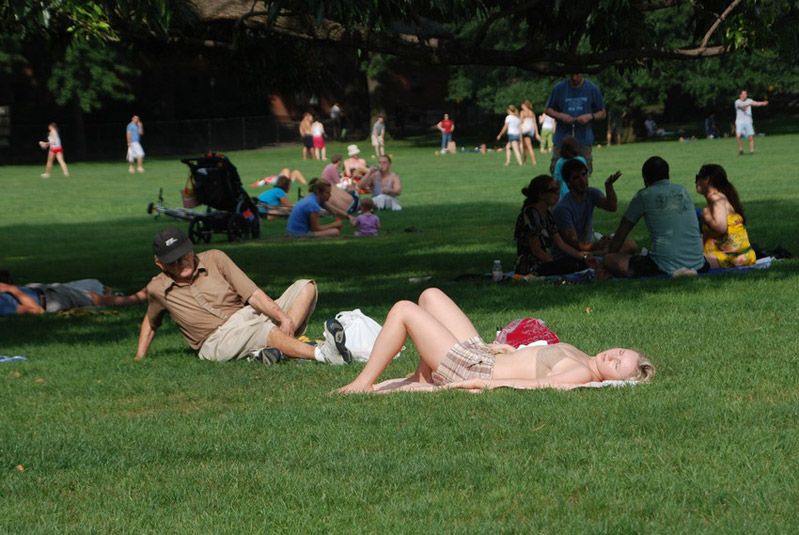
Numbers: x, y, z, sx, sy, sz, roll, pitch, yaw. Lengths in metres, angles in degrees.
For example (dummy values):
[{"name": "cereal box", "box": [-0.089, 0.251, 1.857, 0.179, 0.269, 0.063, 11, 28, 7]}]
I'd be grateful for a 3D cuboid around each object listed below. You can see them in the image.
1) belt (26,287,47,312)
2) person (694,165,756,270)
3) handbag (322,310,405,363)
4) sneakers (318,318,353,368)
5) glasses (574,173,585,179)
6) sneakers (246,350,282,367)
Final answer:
[{"name": "belt", "box": [-5.299, 0.445, 15.074, 0.271, 0.316, 0.235, -2, 10, 17]}, {"name": "person", "box": [4.605, -0.740, 15.373, 1.245, 1.536, 1.103, -1, 0, 39]}, {"name": "handbag", "box": [-0.531, 0.748, 12.273, 0.609, 0.355, 0.806, 3, 6, 30]}, {"name": "sneakers", "box": [-0.722, 0.888, 12.221, 0.233, 0.631, 0.297, -28, -12, 35]}, {"name": "glasses", "box": [2.730, -1.405, 15.754, 0.133, 0.085, 0.048, -4, 10, 0]}, {"name": "sneakers", "box": [-1.616, 1.071, 12.418, 0.457, 0.206, 0.170, 4, -10, 18]}]
